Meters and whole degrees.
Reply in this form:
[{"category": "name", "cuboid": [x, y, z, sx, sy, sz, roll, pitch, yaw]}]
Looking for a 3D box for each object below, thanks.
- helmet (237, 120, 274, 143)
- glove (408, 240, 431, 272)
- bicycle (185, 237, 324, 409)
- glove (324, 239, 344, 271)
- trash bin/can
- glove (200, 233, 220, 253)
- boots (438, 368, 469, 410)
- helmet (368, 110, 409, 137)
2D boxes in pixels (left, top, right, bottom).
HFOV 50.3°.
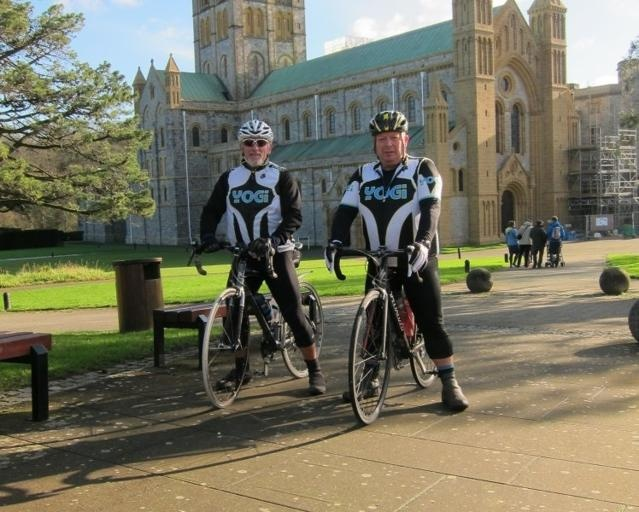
[{"category": "helmet", "cuboid": [-0.607, -1.171, 6.381, 0.239, 0.123, 0.312, -1, 3, -7]}, {"category": "glove", "cuboid": [0.767, 0.007, 5.332, 0.114, 0.218, 0.188, 28, 10, 40]}, {"category": "bicycle", "cuboid": [-0.628, 0.578, 6.220, 0.710, 1.451, 1.453, -1, 4, 24]}, {"category": "glove", "cuboid": [0.103, -0.002, 5.551, 0.114, 0.228, 0.179, 19, -7, 6]}, {"category": "trash bin/can", "cuboid": [-2.745, 0.608, 10.354, 0.712, 1.107, 0.571, -4, 5, -15]}, {"category": "glove", "cuboid": [-0.979, -0.105, 6.060, 0.155, 0.167, 0.355, -4, 4, -10]}, {"category": "boots", "cuboid": [1.149, 1.128, 5.751, 0.224, 0.326, 0.305, -3, 4, 3]}, {"category": "helmet", "cuboid": [0.608, -1.144, 5.875, 0.244, 0.157, 0.292, -2, -5, 6]}]
